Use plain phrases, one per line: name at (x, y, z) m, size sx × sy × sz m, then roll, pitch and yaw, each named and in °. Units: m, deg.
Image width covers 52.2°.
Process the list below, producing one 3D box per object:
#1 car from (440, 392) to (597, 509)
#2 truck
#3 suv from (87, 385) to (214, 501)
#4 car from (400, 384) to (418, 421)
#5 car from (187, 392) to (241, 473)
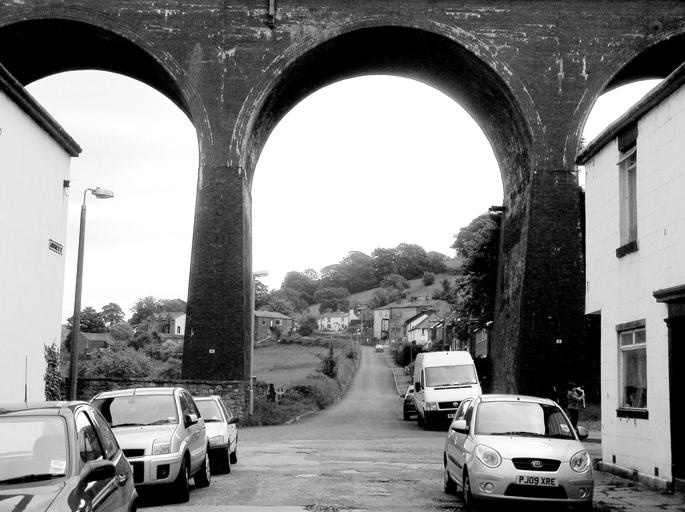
car at (2.936, 3.343, 11.964) m, size 2.415 × 1.900 × 2.170 m, roll -6°, pitch -11°, yaw 22°
truck at (4.157, 5.327, 28.983) m, size 2.001 × 2.465 × 4.208 m, roll -3°, pitch -11°, yaw 0°
suv at (-3.345, 3.297, 12.886) m, size 1.372 × 1.363 × 2.546 m, roll -3°, pitch -19°, yaw 1°
car at (3.243, 7.295, 34.407) m, size 0.972 × 1.083 × 1.746 m, roll 0°, pitch -7°, yaw 5°
car at (-2.938, 4.140, 16.294) m, size 0.953 × 0.842 × 1.881 m, roll -1°, pitch -12°, yaw -1°
